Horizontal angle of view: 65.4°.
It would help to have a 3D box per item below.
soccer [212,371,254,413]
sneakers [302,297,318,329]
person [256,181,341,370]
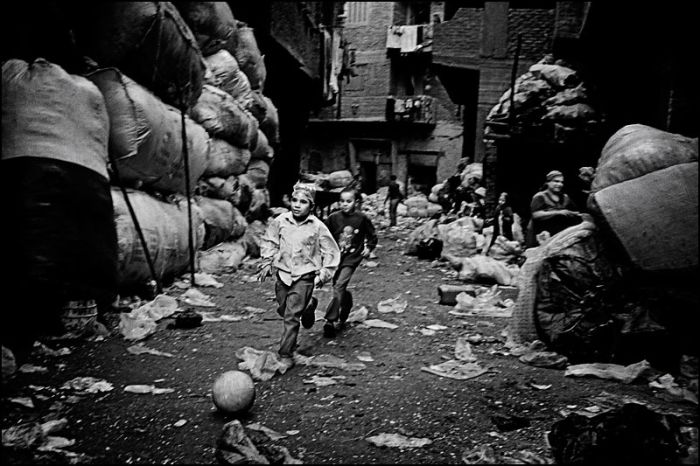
[{"bbox_3d":[-0.890,1.228,4.277,0.343,0.288,0.350,8,28,-17],"label":"soccer"},{"bbox_3d":[-0.401,0.834,5.575,0.162,0.379,0.169,3,22,-15],"label":"sneakers"},{"bbox_3d":[-0.584,0.323,5.242,0.643,1.559,0.767,10,17,30],"label":"person"}]
